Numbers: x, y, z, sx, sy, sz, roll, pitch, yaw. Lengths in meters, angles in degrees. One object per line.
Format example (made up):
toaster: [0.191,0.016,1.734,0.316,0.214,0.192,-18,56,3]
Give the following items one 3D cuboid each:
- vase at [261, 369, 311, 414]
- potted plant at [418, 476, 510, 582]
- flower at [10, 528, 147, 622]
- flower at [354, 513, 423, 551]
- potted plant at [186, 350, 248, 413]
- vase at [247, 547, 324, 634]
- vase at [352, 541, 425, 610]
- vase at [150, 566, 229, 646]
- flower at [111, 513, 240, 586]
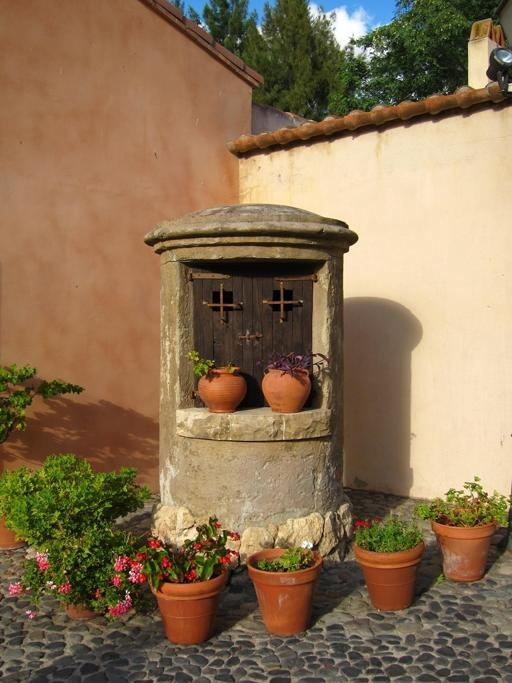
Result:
vase: [0.196,0.311,4.542,0.324,0.223,0.273,0,-7,-4]
potted plant: [1.248,1.140,4.670,0.682,0.676,0.627,-2,-9,-3]
flower: [-0.840,1.168,3.907,0.587,0.351,0.549,0,4,1]
flower: [0.725,1.084,4.179,0.331,0.118,0.330,0,-9,-5]
potted plant: [-0.250,0.262,4.708,0.315,0.371,0.415,-4,8,-23]
vase: [0.161,1.310,3.911,0.463,0.344,0.429,-2,-8,3]
vase: [0.744,1.307,4.123,0.413,0.312,0.382,0,-6,-19]
vase: [-0.340,1.372,3.799,0.399,0.280,0.379,6,-13,-34]
flower: [-0.361,1.103,3.788,0.596,0.206,0.350,-6,15,-33]
